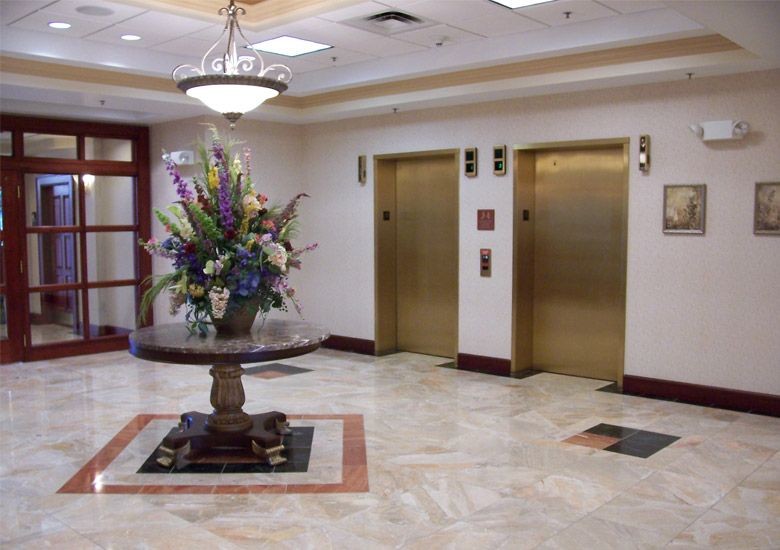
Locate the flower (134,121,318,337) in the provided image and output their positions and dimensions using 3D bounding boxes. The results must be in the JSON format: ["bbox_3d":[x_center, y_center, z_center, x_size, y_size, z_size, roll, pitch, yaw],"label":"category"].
[{"bbox_3d":[-1.393,-0.354,4.737,1.212,1.732,0.489,-2,6,-8],"label":"flower"}]

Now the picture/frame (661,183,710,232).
[{"bbox_3d":[3.269,-0.739,6.171,0.557,0.742,0.056,2,5,38],"label":"picture/frame"}]

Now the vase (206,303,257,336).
[{"bbox_3d":[-1.304,0.389,4.784,0.323,0.220,0.318,-1,-5,-3],"label":"vase"}]

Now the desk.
[{"bbox_3d":[-1.388,1.028,4.860,1.562,1.122,0.950,-2,6,-7],"label":"desk"}]
